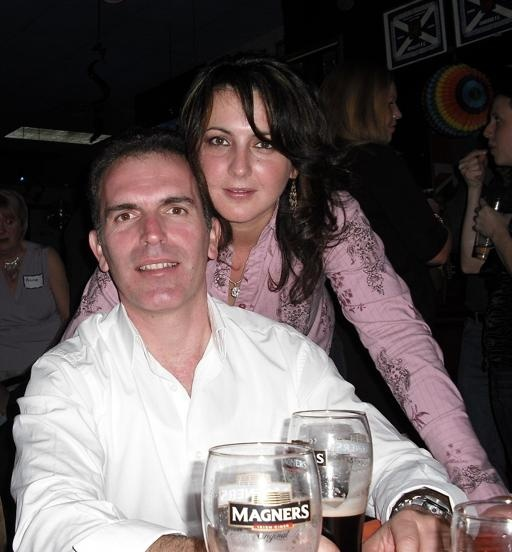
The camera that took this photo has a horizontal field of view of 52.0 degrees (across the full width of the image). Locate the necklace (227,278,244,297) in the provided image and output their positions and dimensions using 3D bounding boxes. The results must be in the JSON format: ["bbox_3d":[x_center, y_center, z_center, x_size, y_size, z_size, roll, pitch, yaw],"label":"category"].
[{"bbox_3d":[-0.080,0.049,2.152,0.055,0.076,0.019,0,1,-5],"label":"necklace"}]

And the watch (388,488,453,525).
[{"bbox_3d":[0.300,0.438,0.966,0.112,0.051,0.110,-3,4,17],"label":"watch"}]
